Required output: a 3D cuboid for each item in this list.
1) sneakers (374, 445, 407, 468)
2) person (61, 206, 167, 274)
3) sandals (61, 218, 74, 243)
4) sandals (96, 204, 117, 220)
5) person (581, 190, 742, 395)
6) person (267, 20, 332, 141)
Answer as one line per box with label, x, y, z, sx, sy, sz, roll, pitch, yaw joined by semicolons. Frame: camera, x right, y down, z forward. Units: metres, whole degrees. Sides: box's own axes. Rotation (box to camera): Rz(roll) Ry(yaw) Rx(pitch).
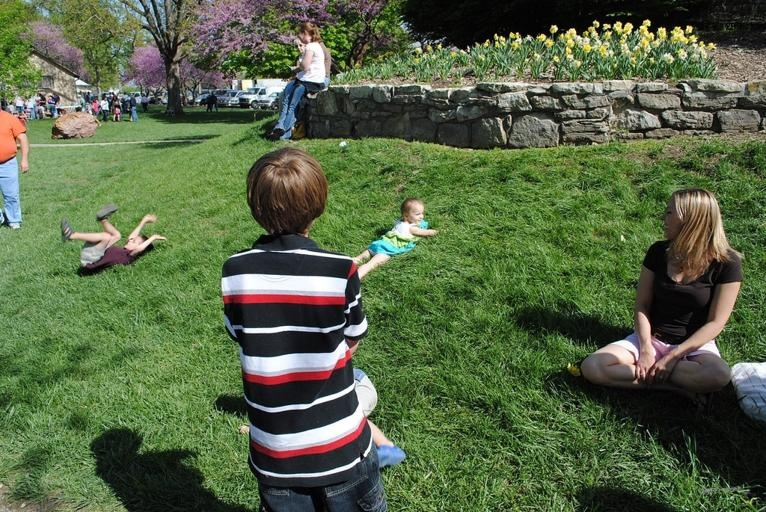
sneakers;0.047;1.577;4.872;0.274;0.156;0.103;-1;0;-16
person;-3.700;-0.263;8.462;1.198;0.918;0.483;-7;15;-31
sandals;-4.211;-0.362;8.254;0.148;0.327;0.119;4;3;-6
sandals;-3.760;-0.583;8.371;0.247;0.099;0.208;-11;17;45
person;2.611;0.326;5.660;1.475;1.696;1.184;-5;14;-5
person;-1.499;-3.235;11.575;1.235;2.052;1.006;10;16;37
